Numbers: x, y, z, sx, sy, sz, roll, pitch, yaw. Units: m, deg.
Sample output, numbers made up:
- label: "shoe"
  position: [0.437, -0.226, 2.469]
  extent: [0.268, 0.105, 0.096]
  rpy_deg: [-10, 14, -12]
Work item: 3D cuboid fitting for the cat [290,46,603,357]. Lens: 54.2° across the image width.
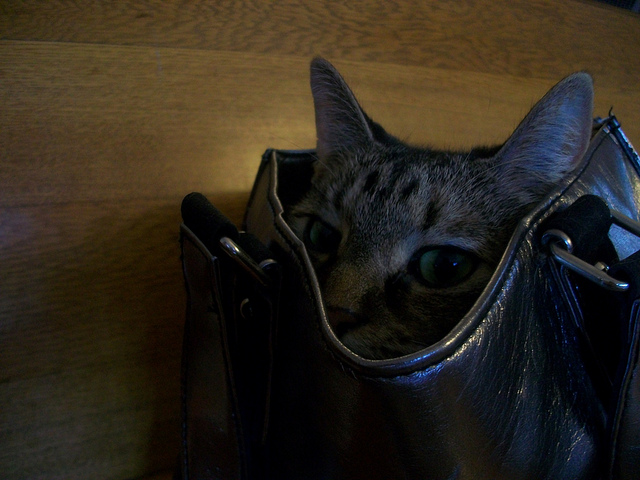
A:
- label: "cat"
  position: [0.100, -0.043, 0.777]
  extent: [0.243, 0.373, 0.377]
  rpy_deg: [21, 37, 30]
